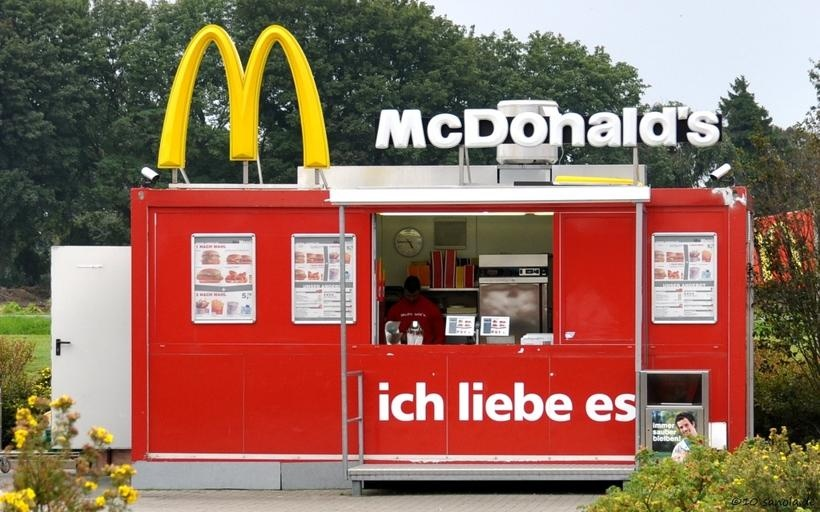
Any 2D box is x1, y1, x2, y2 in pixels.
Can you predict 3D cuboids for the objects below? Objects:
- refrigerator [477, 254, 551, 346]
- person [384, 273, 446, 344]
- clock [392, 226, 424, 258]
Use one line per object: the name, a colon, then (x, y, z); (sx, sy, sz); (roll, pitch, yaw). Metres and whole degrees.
refrigerator: (2.888, 1.154, 46.076); (1.871, 2.389, 1.354); (1, 0, 5)
person: (0.170, 1.408, 44.721); (1.462, 1.812, 0.489); (0, -6, -2)
clock: (-0.114, -0.402, 46.879); (0.915, 0.886, 0.122); (1, -2, -1)
